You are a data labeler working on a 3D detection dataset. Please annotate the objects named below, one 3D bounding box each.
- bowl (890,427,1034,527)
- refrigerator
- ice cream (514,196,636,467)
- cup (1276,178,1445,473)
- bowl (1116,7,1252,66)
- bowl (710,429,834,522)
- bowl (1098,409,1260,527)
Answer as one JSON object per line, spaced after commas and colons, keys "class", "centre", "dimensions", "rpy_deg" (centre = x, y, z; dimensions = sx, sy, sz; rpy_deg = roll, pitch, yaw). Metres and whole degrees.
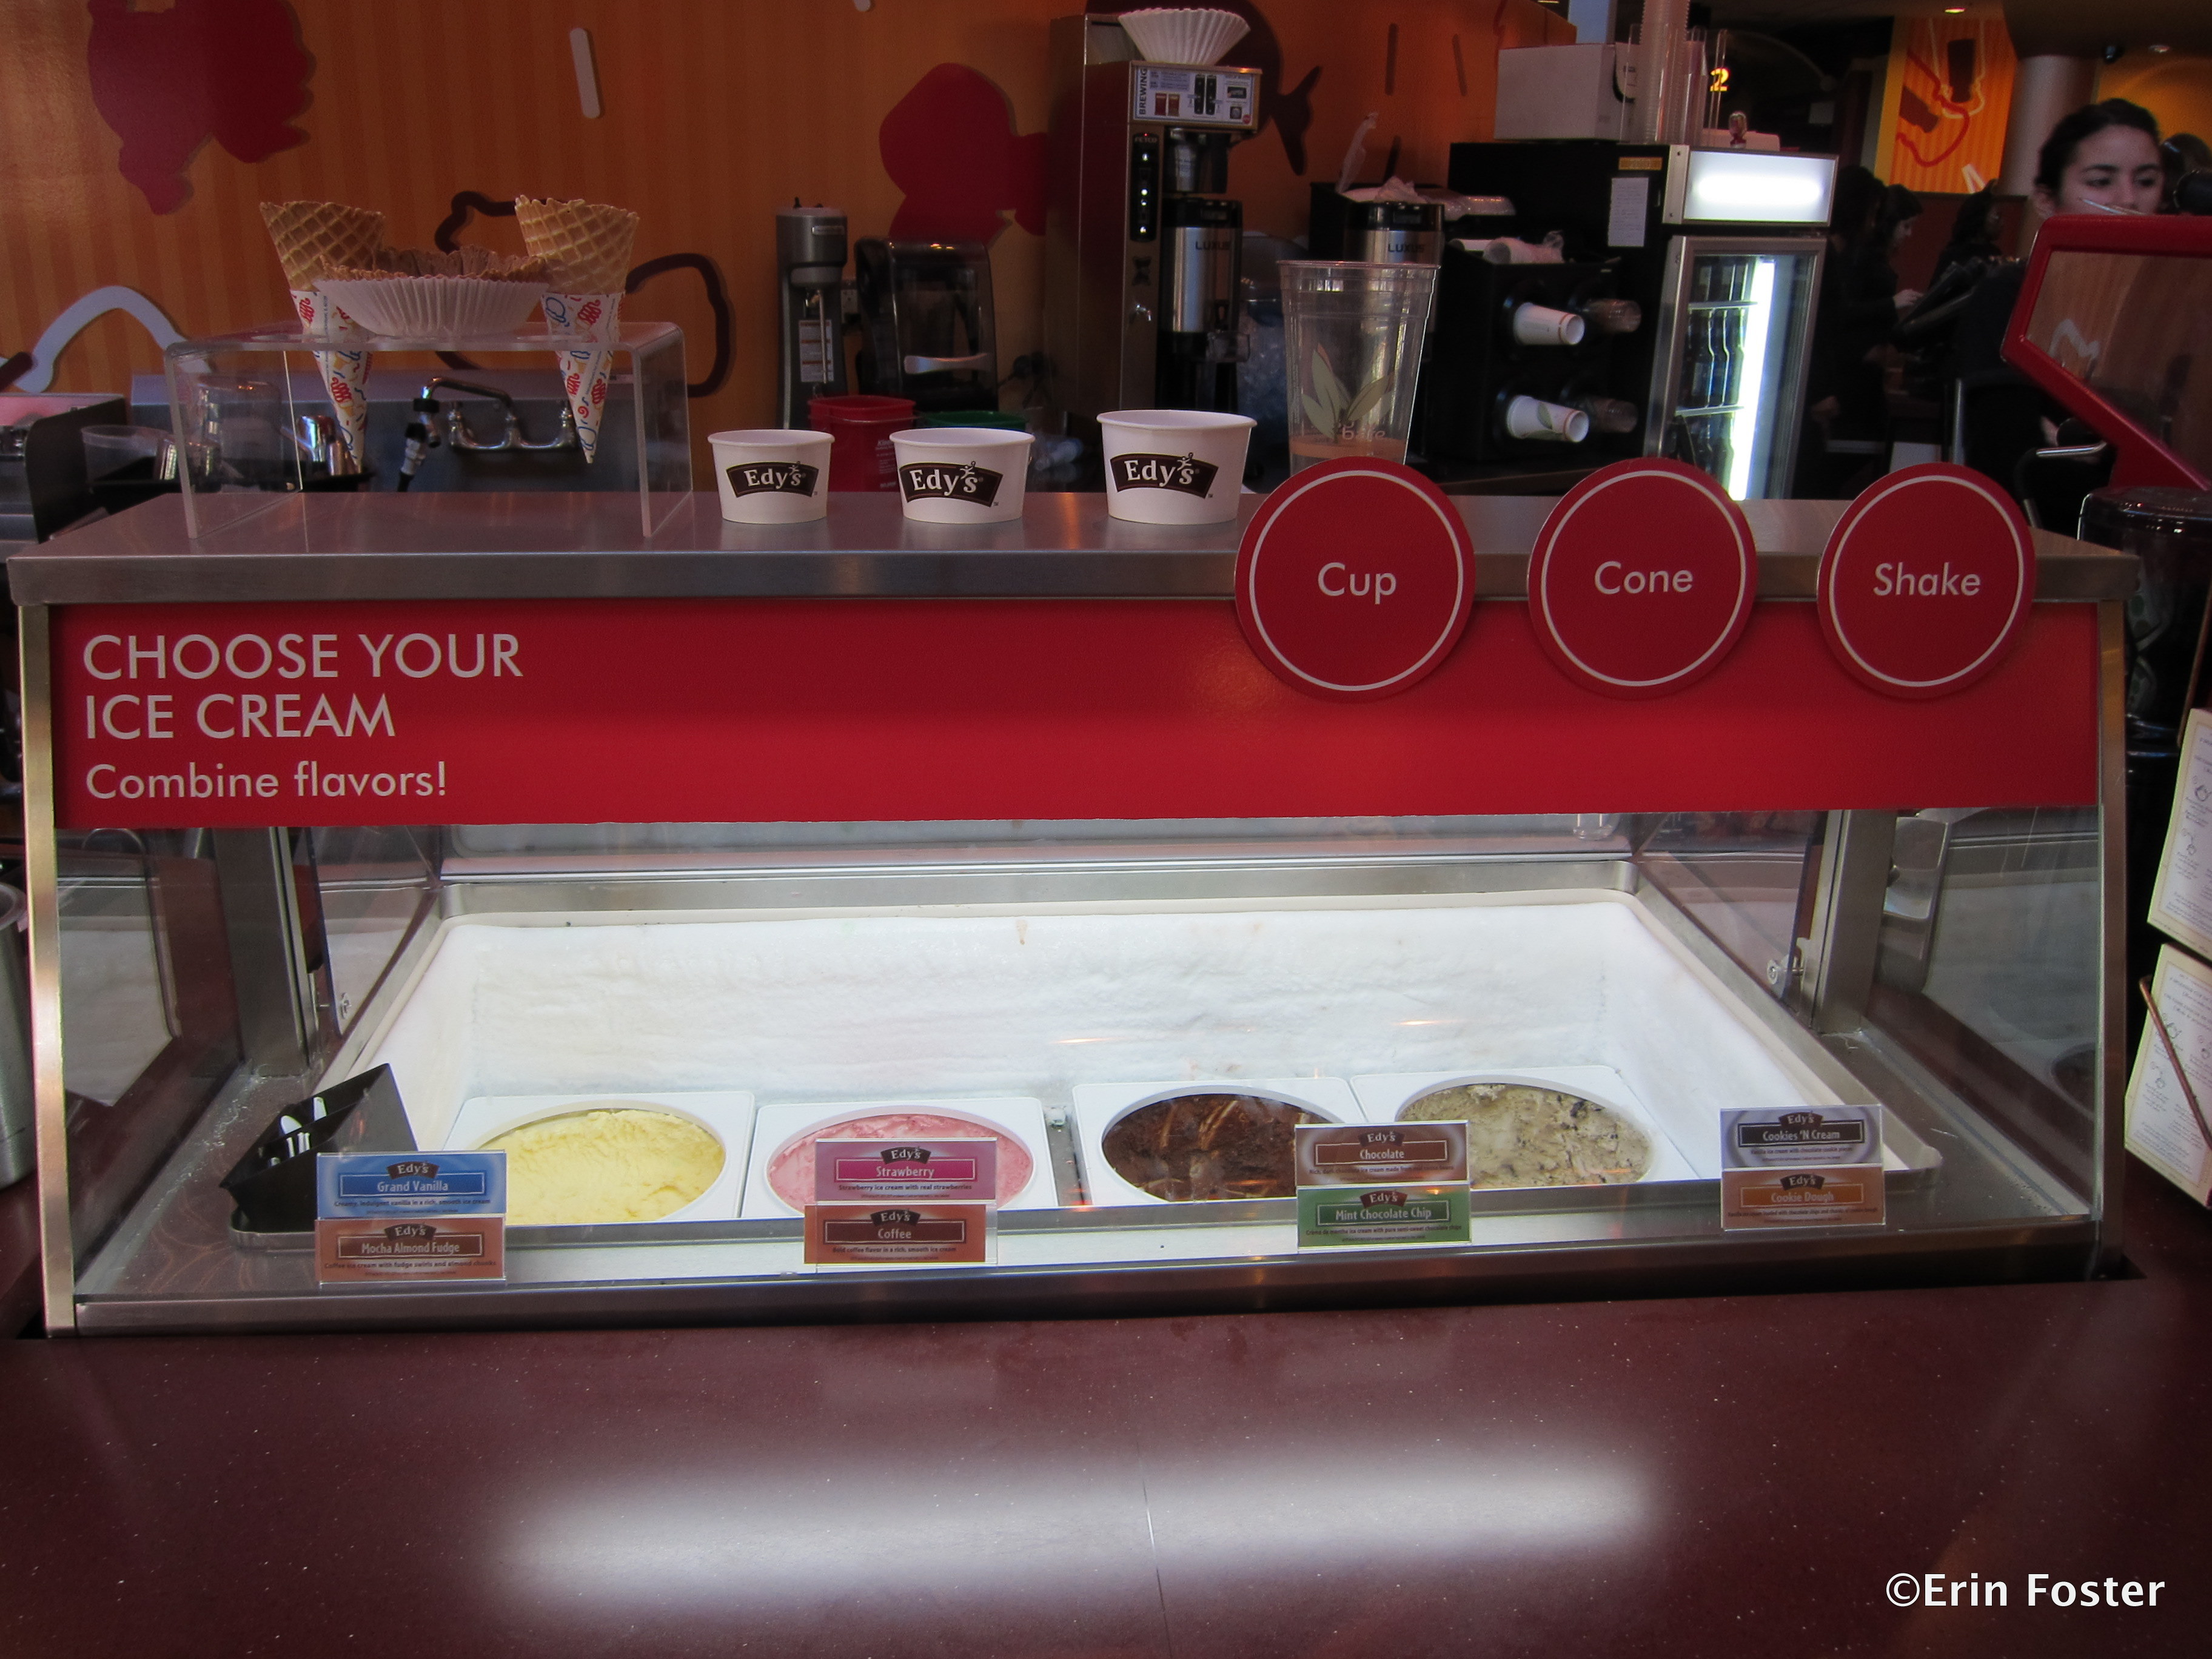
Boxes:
{"class": "bowl", "centre": [-0.132, -0.335, 1.418], "dimensions": [0.109, 0.055, 0.109], "rpy_deg": [0, 14, 0]}
{"class": "refrigerator", "centre": [1.711, -1.542, 4.627], "dimensions": [1.045, 1.108, 0.843], "rpy_deg": [2, 21, 11]}
{"class": "ice cream", "centre": [-0.510, -0.484, 1.488], "dimensions": [0.101, 0.250, 0.213], "rpy_deg": [-8, 22, -15]}
{"class": "cup", "centre": [0.248, -0.466, 1.460], "dimensions": [0.128, 0.253, 0.129], "rpy_deg": [0, 27, 0]}
{"class": "bowl", "centre": [0.212, -2.143, 4.083], "dimensions": [0.305, 0.173, 0.257], "rpy_deg": [-3, 20, -4]}
{"class": "bowl", "centre": [-0.309, -0.325, 1.396], "dimensions": [0.097, 0.056, 0.098], "rpy_deg": [0, 13, 0]}
{"class": "bowl", "centre": [0.067, -0.344, 1.446], "dimensions": [0.150, 0.087, 0.142], "rpy_deg": [2, 19, -1]}
